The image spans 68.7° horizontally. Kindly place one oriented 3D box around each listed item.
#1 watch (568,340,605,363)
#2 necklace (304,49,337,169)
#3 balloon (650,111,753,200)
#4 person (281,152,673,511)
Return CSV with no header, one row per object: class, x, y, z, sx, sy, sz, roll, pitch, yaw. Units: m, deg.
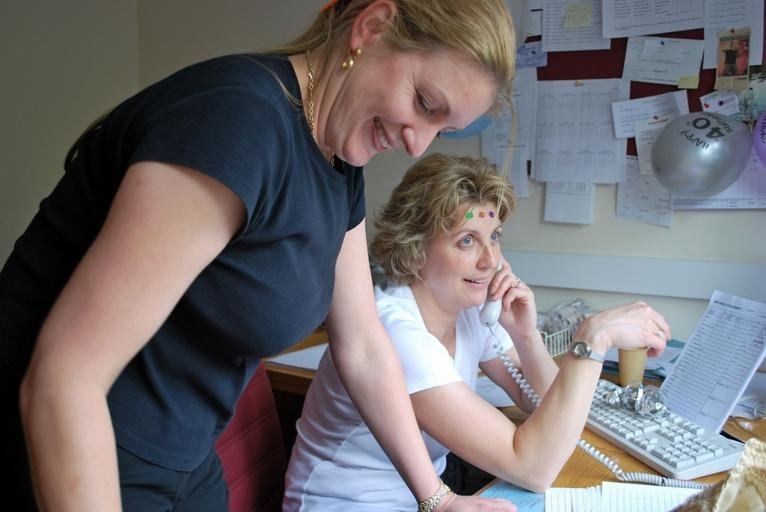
watch,0.533,0.269,1.481,0.059,0.028,0.061,27,-8,46
necklace,-0.122,-0.282,1.089,0.027,0.170,0.095,8,9,40
balloon,1.412,-0.469,2.458,0.393,0.315,0.300,-20,36,-38
person,0.205,0.213,2.166,1.212,1.670,0.825,1,1,8
